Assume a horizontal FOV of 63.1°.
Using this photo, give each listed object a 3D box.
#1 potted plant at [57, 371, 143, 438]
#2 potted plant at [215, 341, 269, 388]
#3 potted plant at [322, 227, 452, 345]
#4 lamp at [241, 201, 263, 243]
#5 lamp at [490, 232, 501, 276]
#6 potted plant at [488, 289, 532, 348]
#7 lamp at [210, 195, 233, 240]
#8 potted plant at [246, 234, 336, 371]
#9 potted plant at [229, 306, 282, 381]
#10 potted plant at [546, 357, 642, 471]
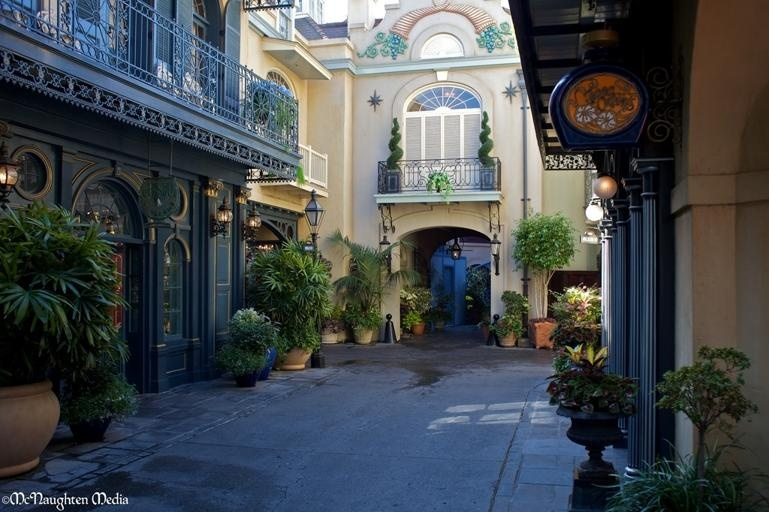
[{"bbox_3d":[-4.001,2.044,8.789,0.904,1.015,0.906,8,-12,-34],"label":"potted plant"},{"bbox_3d":[-2.718,2.051,12.050,0.788,0.802,0.814,-4,-6,21],"label":"potted plant"},{"bbox_3d":[-0.349,0.997,20.348,2.703,3.027,2.880,2,-11,2],"label":"potted plant"},{"bbox_3d":[-2.958,-0.758,14.027,0.397,0.837,0.348,2,-4,-17],"label":"lamp"},{"bbox_3d":[3.337,-0.010,18.902,0.232,1.246,0.566,1,2,11],"label":"lamp"},{"bbox_3d":[3.740,1.898,18.933,1.346,2.078,1.396,2,-5,-3],"label":"potted plant"},{"bbox_3d":[-3.338,-0.748,12.840,0.405,0.828,0.321,-2,-2,4],"label":"lamp"},{"bbox_3d":[-2.265,1.281,14.056,1.693,2.441,1.591,20,-11,-37],"label":"potted plant"},{"bbox_3d":[-2.581,1.707,12.363,1.300,1.587,1.104,1,-4,-12],"label":"potted plant"},{"bbox_3d":[2.303,1.717,6.892,0.878,1.272,0.878,-3,1,-14],"label":"potted plant"}]
